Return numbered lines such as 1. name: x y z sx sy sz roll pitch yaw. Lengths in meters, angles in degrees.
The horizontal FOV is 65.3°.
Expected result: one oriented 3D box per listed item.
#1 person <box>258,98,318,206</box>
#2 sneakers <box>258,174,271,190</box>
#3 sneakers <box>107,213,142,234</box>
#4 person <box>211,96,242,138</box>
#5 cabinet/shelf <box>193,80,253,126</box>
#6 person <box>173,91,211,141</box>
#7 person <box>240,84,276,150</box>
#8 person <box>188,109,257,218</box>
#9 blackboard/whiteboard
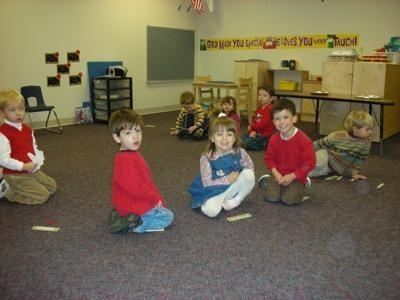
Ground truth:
1. person: 0.824 0.007 2.889 0.452 0.896 0.491 3 16 13
2. sneakers: 0.656 0.310 3.212 0.069 0.078 0.190 7 44 38
3. sneakers: -0.542 0.507 2.282 0.180 0.077 0.183 -5 4 34
4. person: 0.388 -0.484 4.954 0.494 0.704 0.448 1 9 6
5. cabinet/shelf: 0.535 -1.146 7.098 1.410 0.970 0.924 9 18 30
6. person: -0.141 -0.576 5.279 0.688 0.760 0.517 7 16 39
7. person: 0.799 -0.475 4.618 0.576 0.881 0.543 3 16 5
8. person: 0.185 0.121 2.612 0.548 0.821 0.355 -1 15 -3
9. blackboard/whiteboard: -0.736 -2.392 7.795 1.695 1.397 0.139 -14 20 -43
